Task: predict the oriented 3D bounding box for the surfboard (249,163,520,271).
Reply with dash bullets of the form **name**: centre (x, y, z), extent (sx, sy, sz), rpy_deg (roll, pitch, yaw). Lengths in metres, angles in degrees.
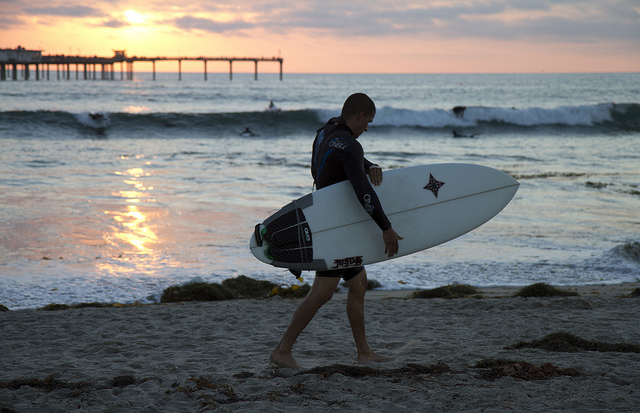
- **surfboard**: centre (2.025, 0.312, 36.106), extent (10.481, 2.744, 1.293), rpy_deg (-15, -3, -1)
